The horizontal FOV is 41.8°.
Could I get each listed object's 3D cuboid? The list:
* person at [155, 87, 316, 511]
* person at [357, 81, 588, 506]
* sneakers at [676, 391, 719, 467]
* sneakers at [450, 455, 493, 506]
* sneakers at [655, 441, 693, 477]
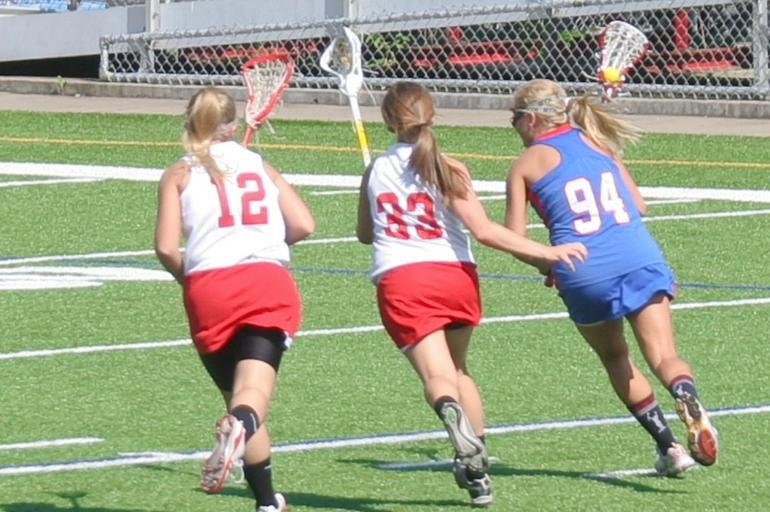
[{"bbox_3d":[-0.887,-0.020,5.914,0.762,1.870,0.824,5,12,31],"label":"person"},{"bbox_3d":[0.329,0.216,6.188,1.203,2.498,0.782,7,13,37],"label":"person"},{"bbox_3d":[1.855,1.024,5.986,0.213,0.438,0.204,-25,3,-23],"label":"sneakers"},{"bbox_3d":[0.523,1.347,6.030,0.119,0.337,0.162,-23,-7,-12],"label":"sneakers"},{"bbox_3d":[1.817,1.279,6.347,0.146,0.144,0.304,-20,0,-21],"label":"sneakers"}]
